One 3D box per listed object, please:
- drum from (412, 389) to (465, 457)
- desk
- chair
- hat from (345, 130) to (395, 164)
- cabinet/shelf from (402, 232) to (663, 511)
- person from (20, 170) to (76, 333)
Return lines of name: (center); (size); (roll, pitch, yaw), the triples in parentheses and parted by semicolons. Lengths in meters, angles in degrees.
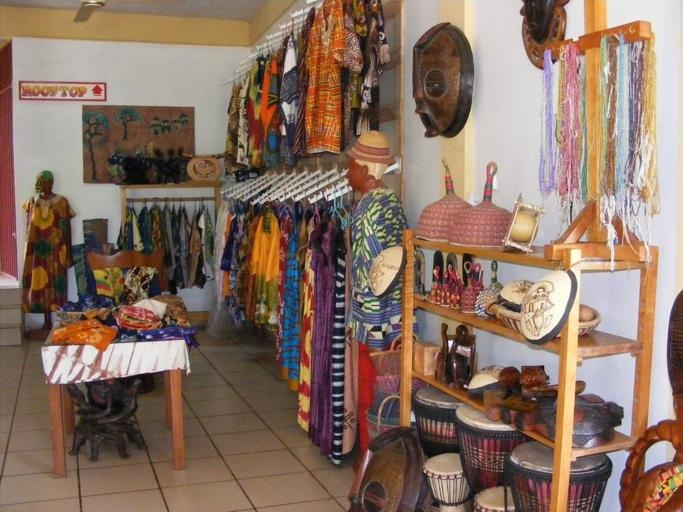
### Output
drum: (0.519, 0.823, 2.966); (0.254, 0.326, 0.273); (-2, 9, 0)
desk: (-1.505, 0.966, 3.948); (0.894, 0.953, 0.950); (-3, 10, -19)
chair: (-1.911, 0.204, 5.021); (0.456, 0.657, 0.478); (-1, -6, 22)
hat: (0.183, -0.655, 3.402); (0.215, 0.115, 0.217); (24, 30, 12)
cabinet/shelf: (0.803, 0.497, 2.332); (0.378, 1.071, 1.097); (-5, 12, -25)
person: (-3.495, -0.064, 6.745); (0.594, 1.888, 0.340); (-3, 7, -29)
